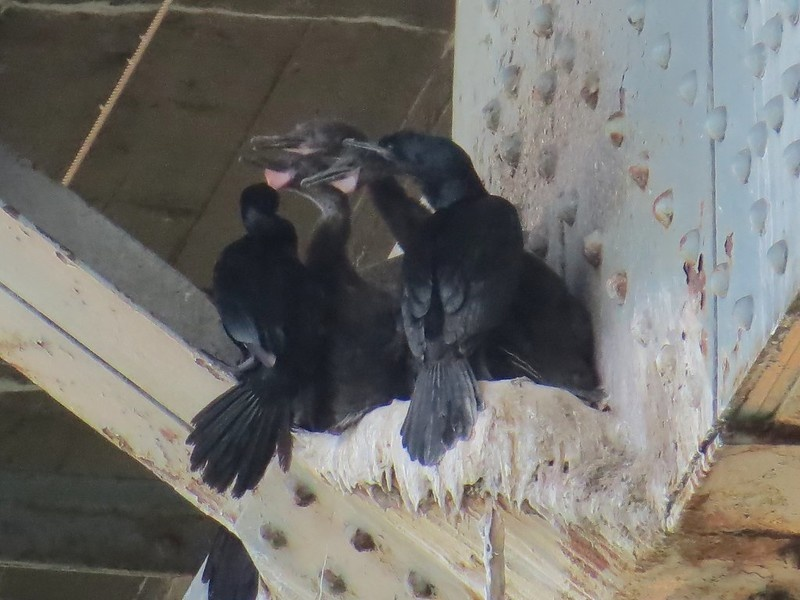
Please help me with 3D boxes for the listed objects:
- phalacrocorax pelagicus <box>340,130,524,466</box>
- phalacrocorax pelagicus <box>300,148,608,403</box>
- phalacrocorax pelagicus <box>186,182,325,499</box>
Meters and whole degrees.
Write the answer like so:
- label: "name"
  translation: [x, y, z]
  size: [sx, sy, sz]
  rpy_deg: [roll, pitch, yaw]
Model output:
- label: "phalacrocorax pelagicus"
  translation: [0.061, -0.025, 4.054]
  size: [0.171, 0.369, 0.579]
  rpy_deg: [-21, 42, 36]
- label: "phalacrocorax pelagicus"
  translation: [0.080, -0.023, 4.127]
  size: [0.205, 0.509, 0.721]
  rpy_deg: [-12, 9, 12]
- label: "phalacrocorax pelagicus"
  translation: [-0.237, 0.091, 4.153]
  size: [0.172, 0.533, 0.146]
  rpy_deg: [5, -14, -17]
